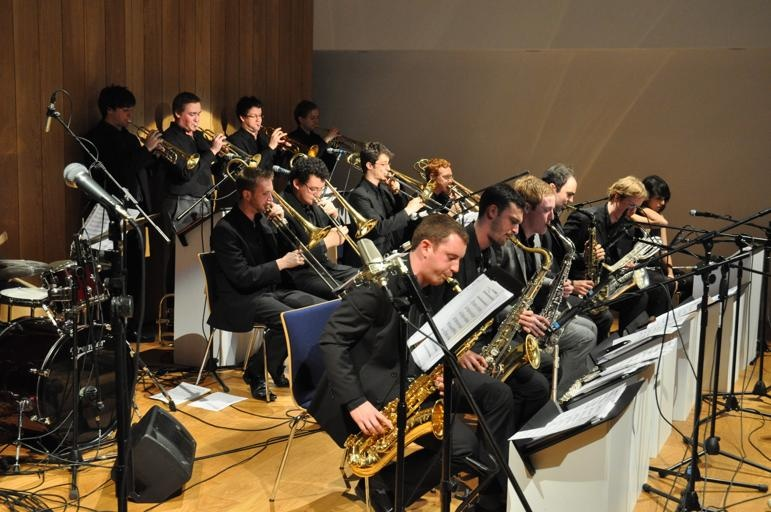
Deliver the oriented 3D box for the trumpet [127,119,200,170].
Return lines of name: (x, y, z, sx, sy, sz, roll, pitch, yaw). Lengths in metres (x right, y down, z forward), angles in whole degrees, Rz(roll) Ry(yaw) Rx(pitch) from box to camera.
trumpet: (-2.299, -1.153, 7.681, 0.668, 0.291, 0.204, 36, -12, 4)

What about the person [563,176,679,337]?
person: (2.377, 0.081, 7.540, 0.796, 1.965, 0.974, -22, 26, -34)

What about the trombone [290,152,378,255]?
trombone: (-0.532, -0.524, 6.992, 0.969, 0.481, 0.449, 46, 21, 23)

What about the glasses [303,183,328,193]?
glasses: (-0.669, -0.653, 7.008, 0.159, 0.061, 0.161, -3, 10, -41)

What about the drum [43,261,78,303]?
drum: (-2.390, 0.181, 5.591, 0.300, 0.280, 0.308, -1, 0, -23)

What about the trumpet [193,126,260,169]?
trumpet: (-1.655, -1.249, 8.058, 0.774, 0.378, 0.294, 26, 43, 10)

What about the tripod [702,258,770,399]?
tripod: (3.026, 0.623, 6.461, 0.370, 1.099, 1.077, 7, 12, 39)

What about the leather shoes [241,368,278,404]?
leather shoes: (-1.149, 1.152, 6.734, 0.155, 0.197, 0.432, 1, 24, -47)

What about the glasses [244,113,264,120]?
glasses: (-1.519, -1.610, 8.508, 0.119, 0.039, 0.122, 12, 9, 37)

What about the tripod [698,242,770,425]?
tripod: (2.979, 0.690, 6.375, 0.423, 1.403, 1.380, 4, 8, 37)

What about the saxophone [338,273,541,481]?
saxophone: (0.323, 0.833, 4.962, 0.580, 1.759, 0.430, 58, 4, 31)

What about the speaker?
speaker: (-1.613, 1.416, 5.508, 0.580, 0.639, 0.711, 22, 7, -20)

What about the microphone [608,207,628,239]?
microphone: (2.278, -0.332, 7.317, 0.176, 0.254, 0.220, -1, -10, 9)

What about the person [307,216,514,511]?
person: (0.157, 0.777, 5.026, 1.307, 2.102, 0.819, -1, 9, -7)

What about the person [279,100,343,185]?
person: (-0.857, -1.412, 9.285, 0.420, 0.407, 0.986, 29, 35, 0)
